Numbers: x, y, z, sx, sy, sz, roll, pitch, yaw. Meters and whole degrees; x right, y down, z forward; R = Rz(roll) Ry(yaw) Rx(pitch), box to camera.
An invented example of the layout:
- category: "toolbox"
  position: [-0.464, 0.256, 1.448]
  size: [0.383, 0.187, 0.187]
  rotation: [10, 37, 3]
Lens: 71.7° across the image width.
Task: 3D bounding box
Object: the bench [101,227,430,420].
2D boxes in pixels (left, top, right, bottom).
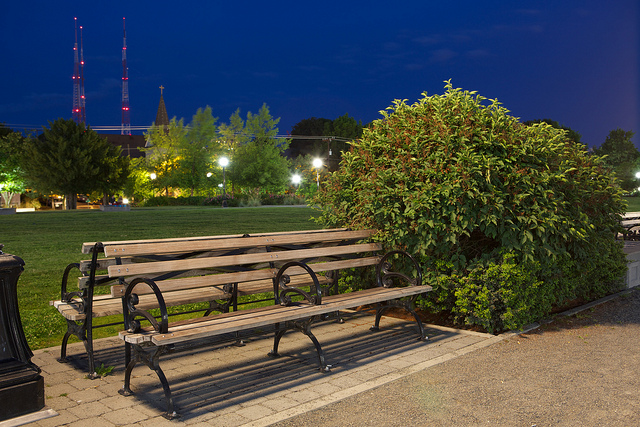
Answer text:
- category: "bench"
  position: [-0.803, 1.078, 6.538]
  size: [4.263, 1.671, 3.075]
  rotation: [-4, 6, -35]
